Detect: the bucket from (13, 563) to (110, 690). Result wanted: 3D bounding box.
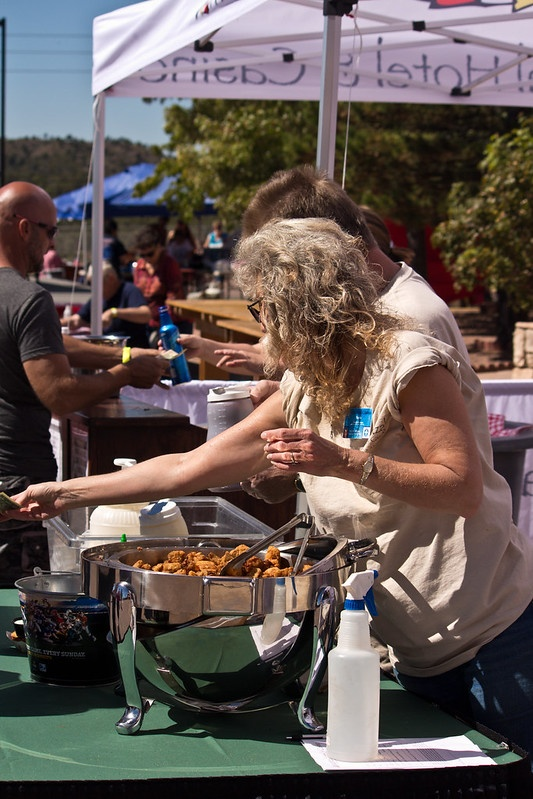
[{"bbox_3d":[-0.361,0.430,1.604,0.223,0.159,0.219,1,-6,0],"label":"bucket"}]

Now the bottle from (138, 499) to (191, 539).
[{"bbox_3d":[-0.208,0.243,1.732,0.084,0.070,0.078,-19,-5,0],"label":"bottle"}]

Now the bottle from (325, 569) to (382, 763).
[{"bbox_3d":[0.131,0.386,1.227,0.080,0.198,0.124,3,1,6],"label":"bottle"}]
